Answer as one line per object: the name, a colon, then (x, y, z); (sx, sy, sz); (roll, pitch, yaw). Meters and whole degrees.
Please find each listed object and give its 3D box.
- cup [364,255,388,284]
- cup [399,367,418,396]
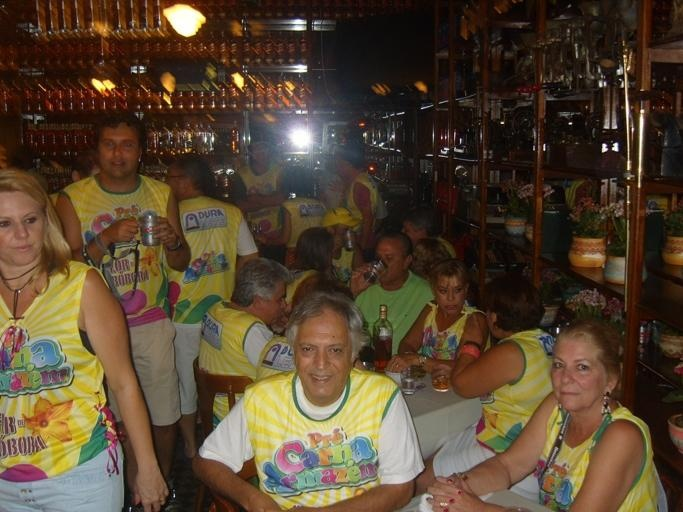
cup: (0.242, 0.105, 3.829); (0.237, 0.079, 0.078); (-52, 3, -35)
cup: (0.349, 0.674, 2.934); (0.099, 0.128, 0.106); (-2, 8, 0)
